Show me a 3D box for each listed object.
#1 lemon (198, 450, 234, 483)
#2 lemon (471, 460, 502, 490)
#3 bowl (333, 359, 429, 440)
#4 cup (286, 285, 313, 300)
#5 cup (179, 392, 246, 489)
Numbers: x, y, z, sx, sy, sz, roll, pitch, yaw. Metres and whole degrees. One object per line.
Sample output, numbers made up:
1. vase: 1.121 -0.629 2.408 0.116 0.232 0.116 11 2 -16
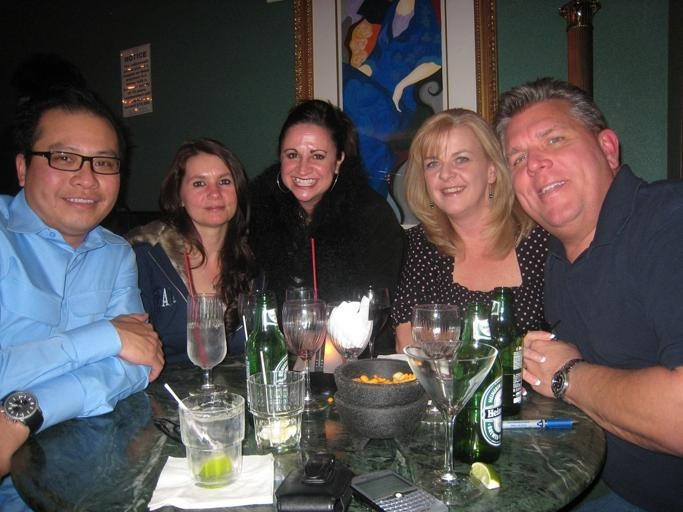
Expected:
1. lemon: -0.335 0.558 1.520 0.073 0.081 0.079 1 2 -4
2. lemon: 0.384 0.581 1.517 0.048 0.044 0.084 7 8 -29
3. bowl: 0.117 0.370 1.685 0.224 0.149 0.228 -2 11 0
4. cup: -0.166 0.140 2.240 0.061 0.048 0.064 1 -1 0
5. cup: -0.345 0.518 1.643 0.202 0.231 0.196 0 -4 0
